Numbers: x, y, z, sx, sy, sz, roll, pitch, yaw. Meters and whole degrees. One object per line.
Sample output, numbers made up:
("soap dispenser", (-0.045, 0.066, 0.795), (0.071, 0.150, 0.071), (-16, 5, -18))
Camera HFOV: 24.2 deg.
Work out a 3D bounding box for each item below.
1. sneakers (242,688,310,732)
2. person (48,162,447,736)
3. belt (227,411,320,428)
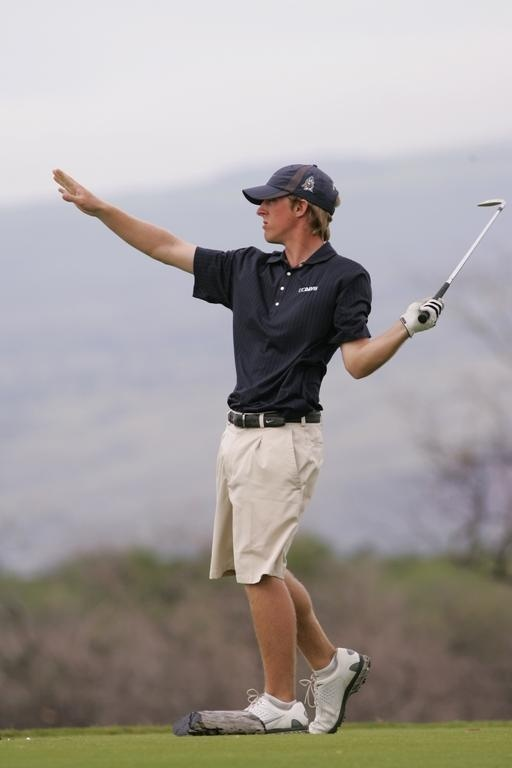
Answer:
("sneakers", (0.069, 1.031, 3.698), (0.195, 0.132, 0.146), (2, 7, 3))
("person", (0.108, 0.211, 3.945), (0.697, 1.871, 0.881), (0, 8, -21))
("belt", (0.063, 0.117, 3.811), (0.299, 0.060, 0.156), (2, 6, 0))
